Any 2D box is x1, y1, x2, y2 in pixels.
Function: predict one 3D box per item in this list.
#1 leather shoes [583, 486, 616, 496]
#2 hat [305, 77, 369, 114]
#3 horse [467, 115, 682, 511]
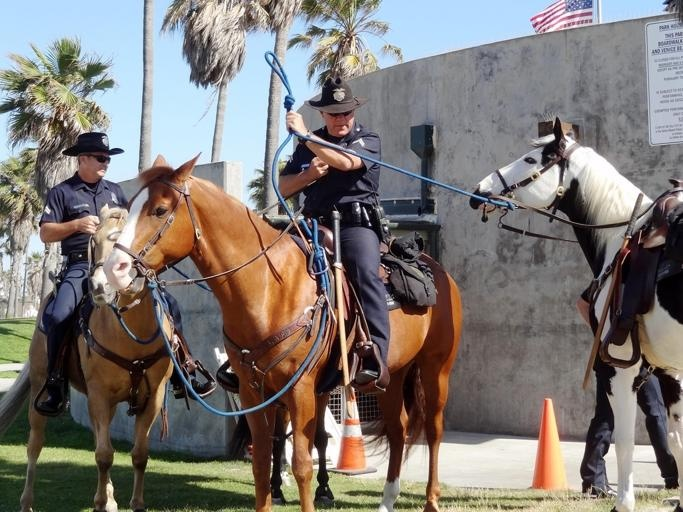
[{"bbox_3d":[3.306,3.038,13.829,0.453,0.194,0.154,-2,1,7],"label":"leather shoes"},{"bbox_3d":[-0.078,-1.899,12.642,0.700,0.490,0.374,2,-6,-2],"label":"hat"},{"bbox_3d":[3.140,0.677,13.015,2.250,4.713,0.789,-3,-7,40],"label":"horse"}]
